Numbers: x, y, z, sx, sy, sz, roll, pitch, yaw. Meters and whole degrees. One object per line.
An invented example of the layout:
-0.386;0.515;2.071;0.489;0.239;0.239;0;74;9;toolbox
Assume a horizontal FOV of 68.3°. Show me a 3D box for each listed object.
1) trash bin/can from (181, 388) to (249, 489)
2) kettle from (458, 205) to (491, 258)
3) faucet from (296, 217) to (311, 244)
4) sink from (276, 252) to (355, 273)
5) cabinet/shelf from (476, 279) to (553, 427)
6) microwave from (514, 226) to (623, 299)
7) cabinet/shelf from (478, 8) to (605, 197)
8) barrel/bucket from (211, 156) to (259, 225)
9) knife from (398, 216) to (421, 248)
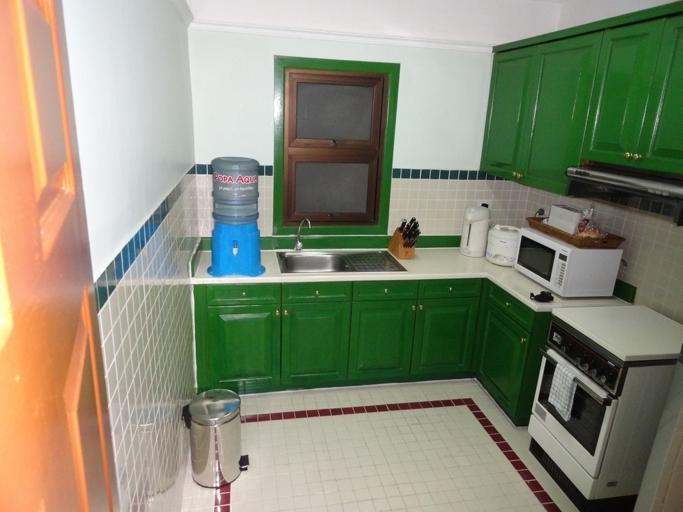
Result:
-0.704;1.009;2.804;0.304;0.434;0.297;1;17;-2;trash bin/can
1.020;-0.198;3.814;0.190;0.394;0.115;5;17;12;kettle
-0.279;-0.166;3.717;0.119;0.232;0.111;0;17;-6;faucet
-0.198;0.077;3.613;0.515;0.140;0.299;-1;18;-8;sink
1.290;0.608;3.408;0.501;0.809;0.596;1;17;-16;cabinet/shelf
1.428;0.032;3.250;0.395;0.335;0.567;0;17;-11;microwave
1.383;-0.945;3.363;0.348;0.916;0.970;-1;16;-19;cabinet/shelf
-0.687;-0.446;3.270;0.305;0.434;0.284;4;21;-1;barrel/bucket
0.499;-0.174;3.674;0.074;0.217;0.160;-4;44;-38;knife
